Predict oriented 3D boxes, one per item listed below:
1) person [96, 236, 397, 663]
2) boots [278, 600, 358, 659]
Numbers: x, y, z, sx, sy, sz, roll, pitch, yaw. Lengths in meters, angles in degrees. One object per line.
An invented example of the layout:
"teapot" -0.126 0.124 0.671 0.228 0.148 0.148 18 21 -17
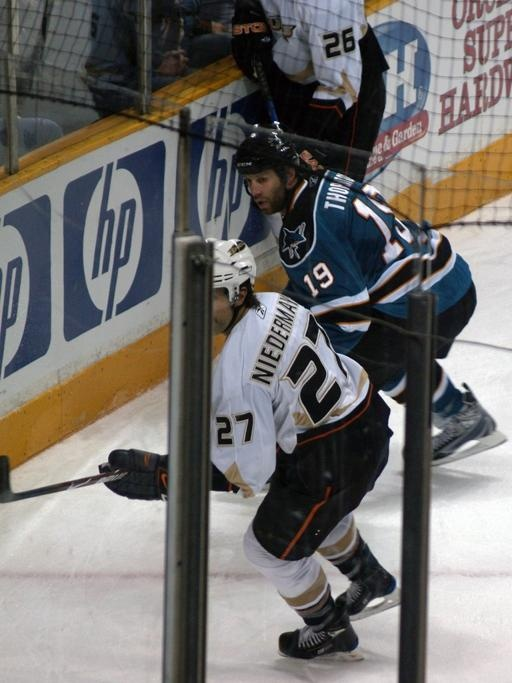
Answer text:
"person" 0.080 0.231 1.974 0.512 0.951 0.263 -12 24 -30
"boots" 0.135 0.640 2.121 0.209 0.059 0.111 -1 48 -4
